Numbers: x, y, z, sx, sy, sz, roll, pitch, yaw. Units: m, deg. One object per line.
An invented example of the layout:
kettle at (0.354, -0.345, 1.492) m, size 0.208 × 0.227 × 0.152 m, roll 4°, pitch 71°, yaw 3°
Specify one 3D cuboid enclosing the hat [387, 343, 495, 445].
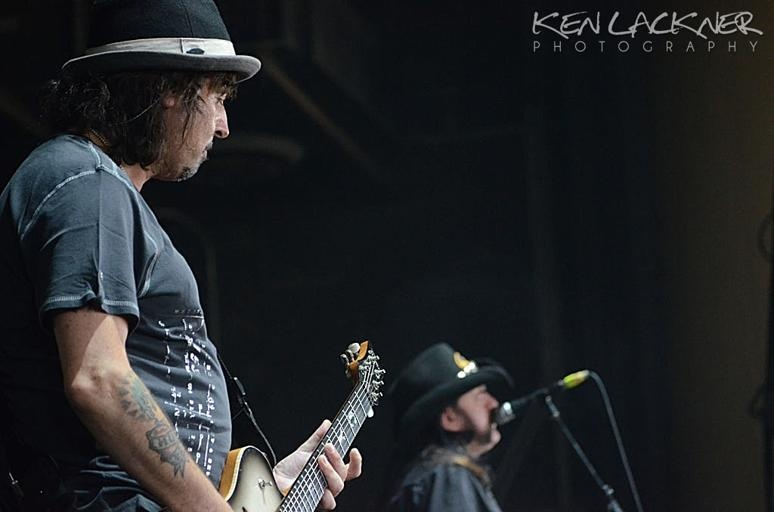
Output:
hat at (0.214, 0.529, 4.865) m, size 0.417 × 0.170 × 0.378 m, roll -43°, pitch -1°, yaw 10°
